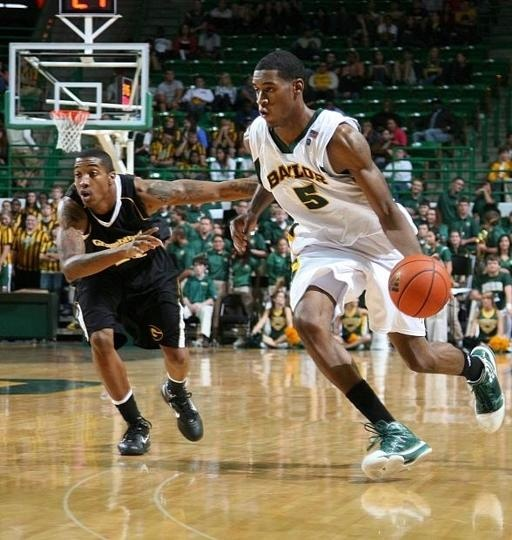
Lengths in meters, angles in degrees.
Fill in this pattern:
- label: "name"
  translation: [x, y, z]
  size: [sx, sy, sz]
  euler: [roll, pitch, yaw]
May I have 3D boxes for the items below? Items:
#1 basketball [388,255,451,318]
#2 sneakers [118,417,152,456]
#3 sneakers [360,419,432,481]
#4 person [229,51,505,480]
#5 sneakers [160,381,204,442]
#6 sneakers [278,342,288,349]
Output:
- label: "basketball"
  translation: [0.597, 0.065, 2.428]
  size: [0.228, 0.237, 0.177]
  euler: [0, 3, 12]
- label: "sneakers"
  translation: [-0.558, 0.782, 3.056]
  size: [0.095, 0.080, 0.219]
  euler: [4, -4, 0]
- label: "sneakers"
  translation: [0.536, 0.704, 2.530]
  size: [0.246, 0.214, 0.178]
  euler: [0, 3, 11]
- label: "person"
  translation: [0.454, -0.040, 2.878]
  size: [0.949, 1.806, 0.944]
  euler: [-3, 3, -35]
- label: "sneakers"
  translation: [-0.380, 0.721, 3.375]
  size: [0.144, 0.371, 0.169]
  euler: [-34, -14, -20]
- label: "sneakers"
  translation: [0.364, 1.048, 9.143]
  size: [0.132, 0.047, 0.101]
  euler: [4, 4, 44]
